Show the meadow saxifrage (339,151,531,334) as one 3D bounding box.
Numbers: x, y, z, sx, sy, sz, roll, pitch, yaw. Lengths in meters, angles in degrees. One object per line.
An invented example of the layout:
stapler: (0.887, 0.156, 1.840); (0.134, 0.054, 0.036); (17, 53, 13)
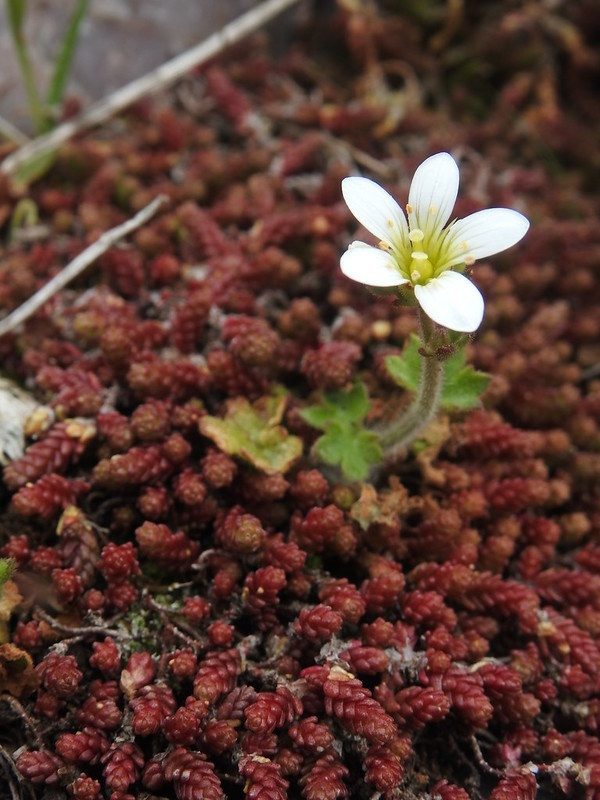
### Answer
meadow saxifrage: (0.322, -0.423, 2.189); (0.545, 0.448, 0.188); (-3, 56, 27)
